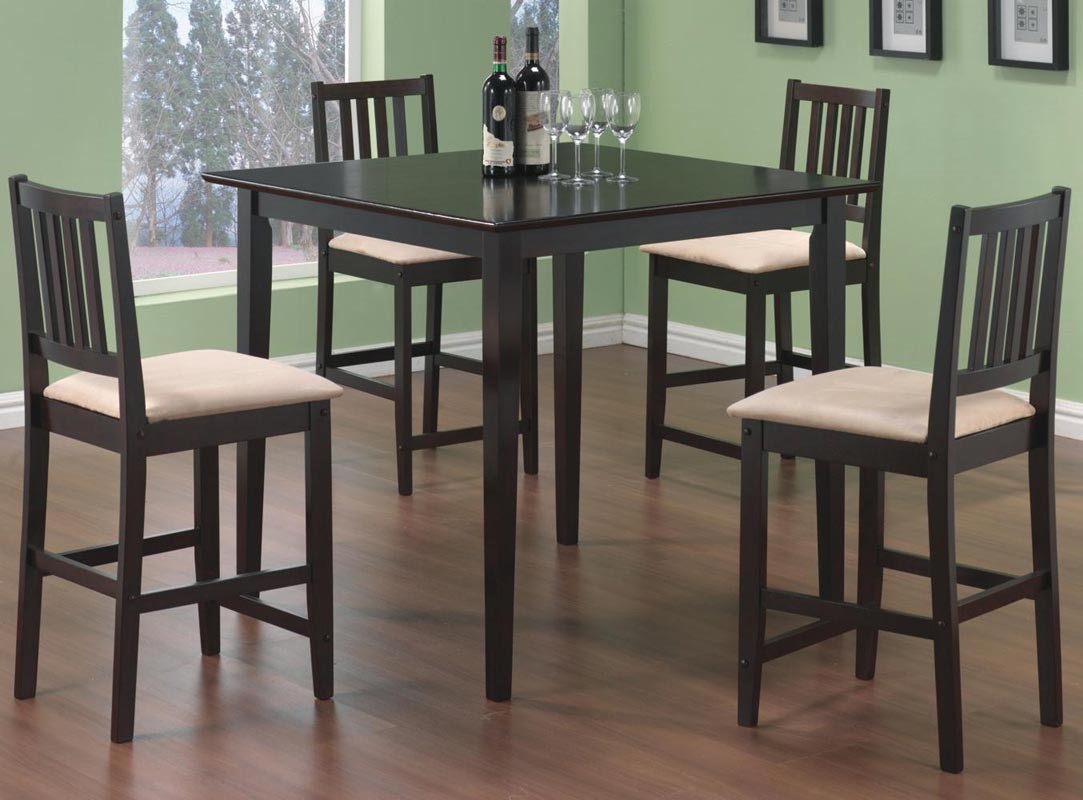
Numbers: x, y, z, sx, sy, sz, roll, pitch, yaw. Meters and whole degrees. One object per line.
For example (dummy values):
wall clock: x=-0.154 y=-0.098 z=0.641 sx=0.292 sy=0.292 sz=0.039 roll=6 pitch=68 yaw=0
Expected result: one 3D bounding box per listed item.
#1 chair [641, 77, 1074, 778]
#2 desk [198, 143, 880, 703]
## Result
chair: x=0.868 y=0.059 z=2.940 sx=0.715 sy=1.298 sz=1.768 roll=-3 pitch=11 yaw=-14
desk: x=-0.108 y=-0.335 z=2.945 sx=1.447 sy=1.342 sz=1.428 roll=-8 pitch=13 yaw=-37
